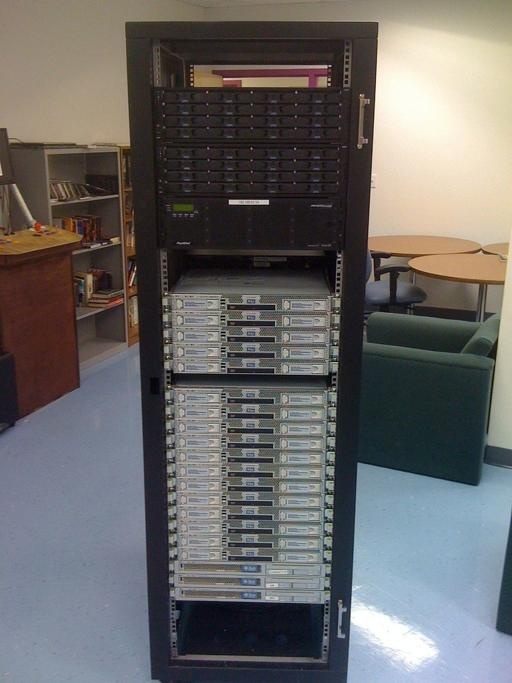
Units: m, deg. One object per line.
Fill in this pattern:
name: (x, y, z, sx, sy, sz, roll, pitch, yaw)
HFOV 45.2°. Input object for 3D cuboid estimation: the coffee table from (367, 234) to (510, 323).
coffee table: (1.505, -0.560, 5.259, 1.088, 0.456, 1.934, 3, 17, 9)

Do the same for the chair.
chair: (0.941, 0.253, 3.346, 0.647, 0.773, 0.706, 7, 18, 21)
